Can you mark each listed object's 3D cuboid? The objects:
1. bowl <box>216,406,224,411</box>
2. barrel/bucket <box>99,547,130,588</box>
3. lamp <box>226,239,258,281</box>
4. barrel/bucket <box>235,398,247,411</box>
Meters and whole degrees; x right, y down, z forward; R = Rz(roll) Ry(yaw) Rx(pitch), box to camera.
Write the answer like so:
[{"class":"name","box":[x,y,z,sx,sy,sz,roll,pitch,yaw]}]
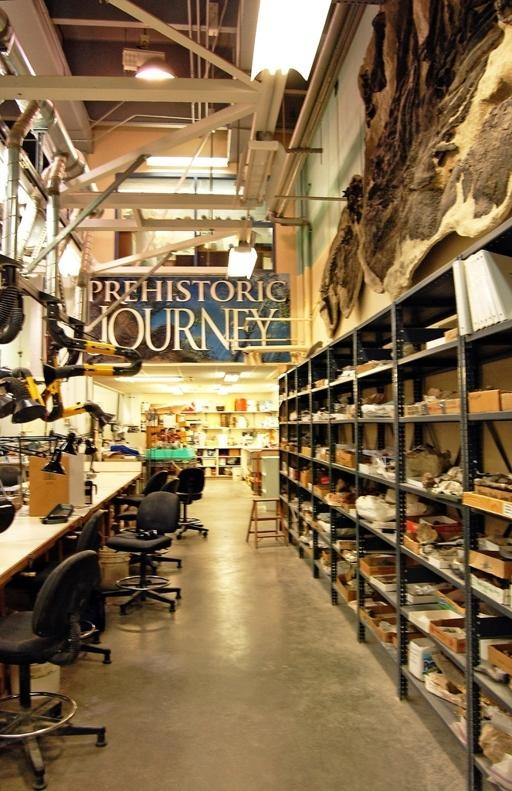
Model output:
[{"class":"bowl","box":[-1.024,0.393,16.201,0.189,0.136,0.106,0,-11,-3]},{"class":"barrel/bucket","box":[-1.262,1.546,5.240,0.295,0.302,0.294,1,-4,0]},{"class":"lamp","box":[-0.156,-1.392,5.798,0.239,0.284,0.605,0,-3,-6]},{"class":"barrel/bucket","box":[-0.461,0.296,16.027,0.344,0.308,0.249,0,-3,-2]}]
